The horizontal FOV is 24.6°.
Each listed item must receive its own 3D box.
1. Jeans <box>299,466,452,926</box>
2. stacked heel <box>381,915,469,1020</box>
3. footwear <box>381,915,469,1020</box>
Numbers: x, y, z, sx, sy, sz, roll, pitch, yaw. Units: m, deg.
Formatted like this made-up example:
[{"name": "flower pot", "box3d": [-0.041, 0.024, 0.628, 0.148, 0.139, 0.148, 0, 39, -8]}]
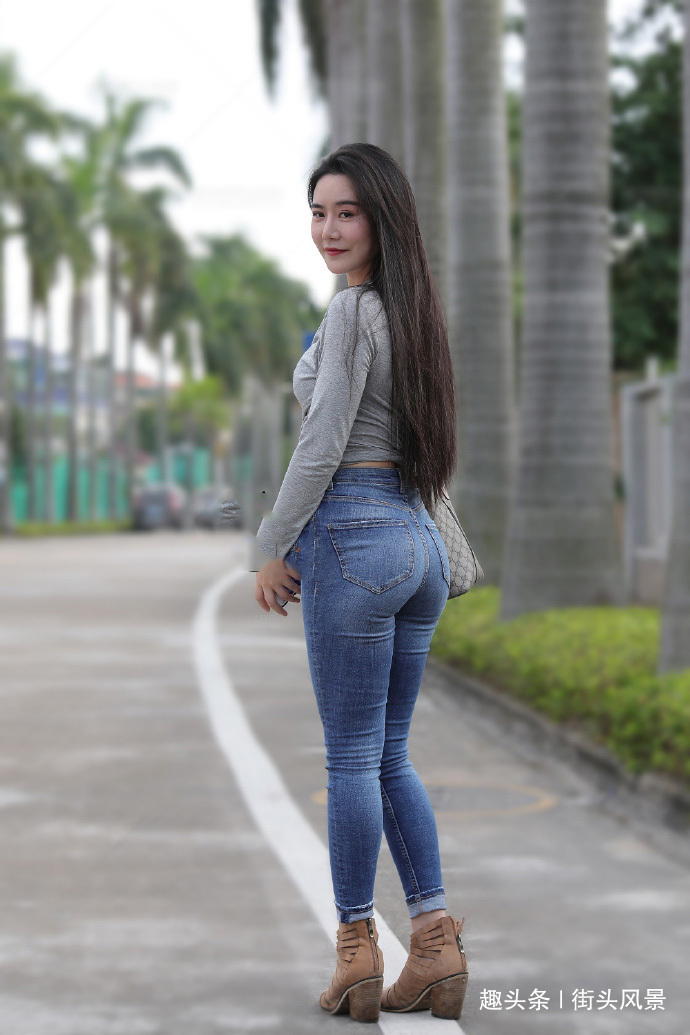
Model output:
[{"name": "Jeans", "box3d": [0.096, 0.415, 3.636, 0.205, 1.064, 0.364, 0, 5, 42]}, {"name": "stacked heel", "box3d": [0.171, 1.072, 3.727, 0.131, 0.223, 0.303, 18, -25, -41]}, {"name": "footwear", "box3d": [0.167, 1.070, 3.727, 0.129, 0.224, 0.303, 18, -24, -40]}]
